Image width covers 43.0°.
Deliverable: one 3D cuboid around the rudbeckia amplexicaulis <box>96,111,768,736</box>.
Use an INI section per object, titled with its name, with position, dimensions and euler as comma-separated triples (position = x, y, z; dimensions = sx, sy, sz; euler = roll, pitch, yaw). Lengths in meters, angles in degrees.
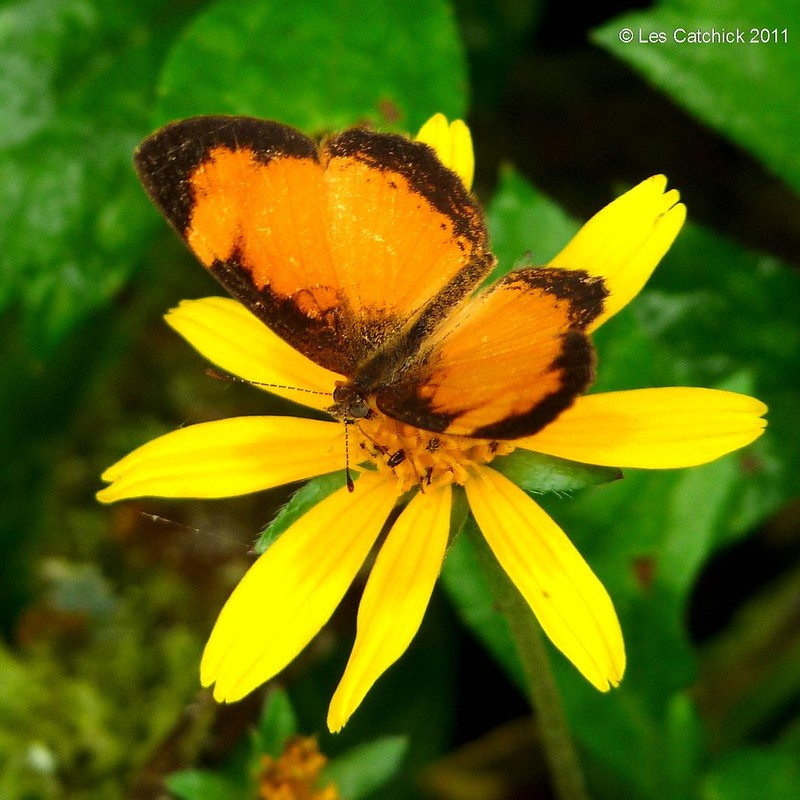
[rudbeckia amplexicaulis]
position = 0.134, 0.039, 1.533
dimensions = 1.000, 1.052, 0.414
euler = -13, -82, 34
